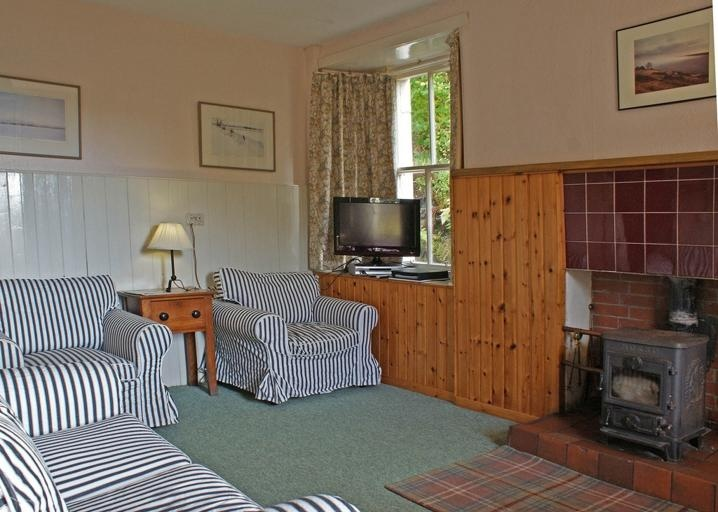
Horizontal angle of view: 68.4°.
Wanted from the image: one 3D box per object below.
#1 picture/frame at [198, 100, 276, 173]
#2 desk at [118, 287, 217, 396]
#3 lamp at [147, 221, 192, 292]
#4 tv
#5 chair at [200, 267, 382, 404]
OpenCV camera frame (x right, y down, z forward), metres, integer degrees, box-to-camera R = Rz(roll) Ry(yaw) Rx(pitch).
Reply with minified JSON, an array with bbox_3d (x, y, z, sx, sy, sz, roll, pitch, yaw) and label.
[{"bbox_3d":[-1.200,-1.153,5.058,0.762,0.566,0.028,-3,4,-37],"label":"picture/frame"},{"bbox_3d":[-1.591,0.728,4.490,0.619,0.836,0.632,-3,-3,-27],"label":"desk"},{"bbox_3d":[-1.613,-0.004,4.600,0.374,0.559,0.336,-5,7,-37],"label":"lamp"},{"bbox_3d":[0.166,-0.257,4.904,0.651,0.478,0.076,1,1,9],"label":"tv"},{"bbox_3d":[-0.609,0.720,4.687,1.300,1.120,1.156,1,-3,-34],"label":"chair"}]
